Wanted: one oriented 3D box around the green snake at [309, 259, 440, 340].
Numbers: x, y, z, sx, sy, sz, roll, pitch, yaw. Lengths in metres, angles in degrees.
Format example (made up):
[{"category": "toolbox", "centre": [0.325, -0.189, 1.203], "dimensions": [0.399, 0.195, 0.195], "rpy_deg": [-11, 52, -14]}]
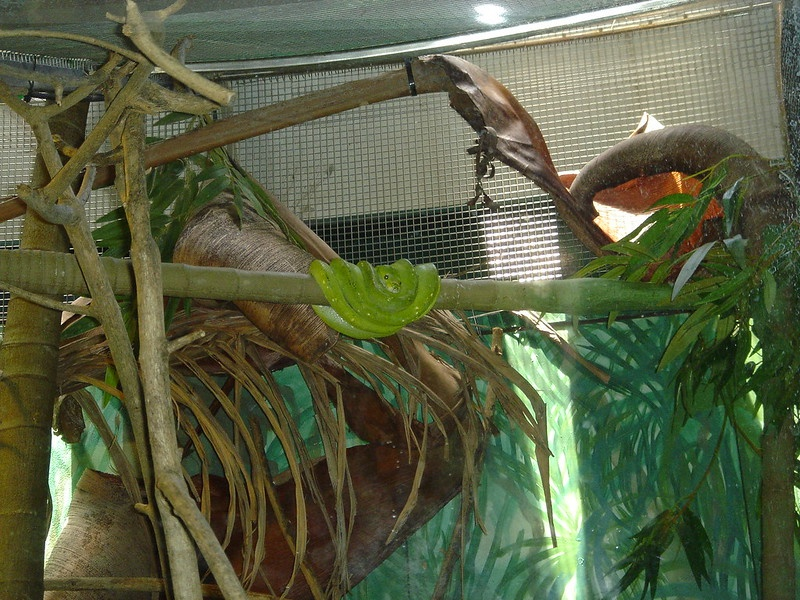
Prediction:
[{"category": "green snake", "centre": [-0.042, -0.006, 1.438], "dimensions": [0.207, 0.116, 0.073], "rpy_deg": [10, -34, -12]}]
